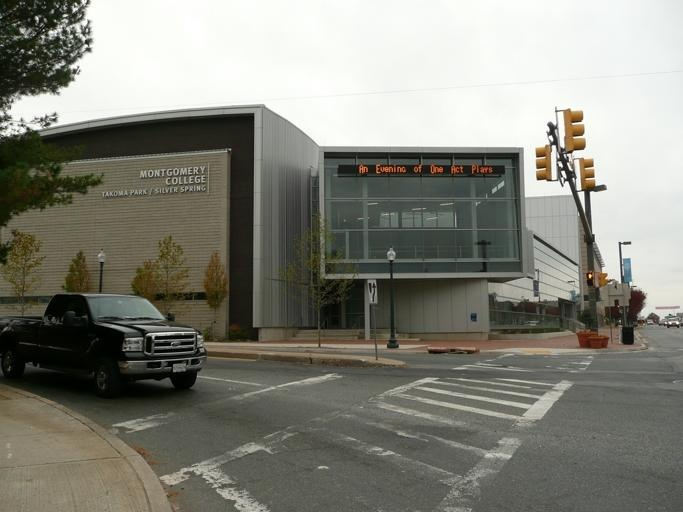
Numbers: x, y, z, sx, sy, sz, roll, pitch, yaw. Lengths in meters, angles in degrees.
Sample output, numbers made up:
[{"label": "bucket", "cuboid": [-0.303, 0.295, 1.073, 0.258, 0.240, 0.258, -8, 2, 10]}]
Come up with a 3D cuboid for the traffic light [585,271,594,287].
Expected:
[{"label": "traffic light", "cuboid": [11.955, 1.077, 28.631, 0.286, 0.744, 0.600, 1, 0, 26]}]
